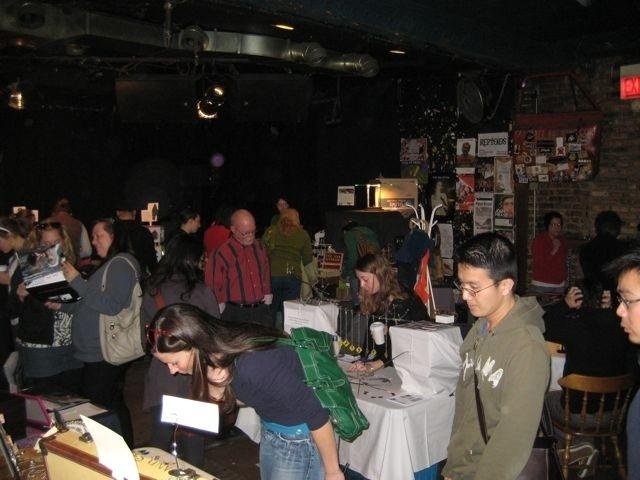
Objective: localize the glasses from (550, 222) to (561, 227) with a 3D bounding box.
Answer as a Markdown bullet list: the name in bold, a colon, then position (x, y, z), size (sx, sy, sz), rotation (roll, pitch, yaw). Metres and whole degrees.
- **glasses**: position (2.753, -0.173, 6.187), size (0.111, 0.054, 0.044), rotation (0, 6, -3)

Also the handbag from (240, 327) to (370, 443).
- **handbag**: position (-0.051, 0.714, 2.510), size (0.189, 0.539, 0.414), rotation (-35, -6, 18)

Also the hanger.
- **hanger**: position (0.948, 0.273, 4.691), size (0.308, 1.081, 0.305), rotation (7, 23, 30)

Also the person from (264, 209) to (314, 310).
- **person**: position (-0.451, 0.388, 6.577), size (0.620, 1.678, 0.508), rotation (6, 24, -2)

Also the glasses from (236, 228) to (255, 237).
- **glasses**: position (-0.658, -0.062, 4.913), size (0.113, 0.072, 0.226), rotation (4, 7, 30)

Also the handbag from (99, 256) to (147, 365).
- **handbag**: position (-1.381, 0.503, 3.661), size (0.291, 0.792, 0.185), rotation (-2, 6, -21)

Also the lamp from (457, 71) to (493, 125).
- **lamp**: position (1.962, -1.790, 6.720), size (0.322, 0.576, 0.721), rotation (3, 6, 25)

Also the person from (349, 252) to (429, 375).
- **person**: position (0.347, 0.571, 4.252), size (0.779, 0.980, 0.591), rotation (-2, -9, -5)
